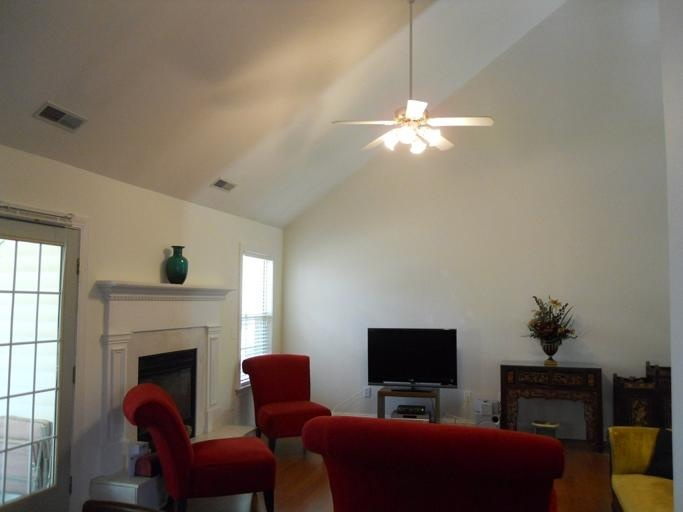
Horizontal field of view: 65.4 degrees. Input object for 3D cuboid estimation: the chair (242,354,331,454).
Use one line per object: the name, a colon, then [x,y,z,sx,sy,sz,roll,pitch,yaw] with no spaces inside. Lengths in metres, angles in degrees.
chair: [-0.666,1.712,6.155,0.961,1.173,0.992,4,-18,-28]

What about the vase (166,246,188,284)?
vase: [-1.632,0.093,5.272,0.204,0.372,0.149,3,-8,-19]

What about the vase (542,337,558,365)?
vase: [2.400,1.092,6.050,0.199,0.295,0.207,-2,-8,12]

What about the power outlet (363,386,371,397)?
power outlet: [0.349,1.777,6.939,0.127,0.185,0.096,-1,-8,11]

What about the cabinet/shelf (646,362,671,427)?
cabinet/shelf: [3.383,1.466,5.636,0.212,0.654,0.373,-4,-9,29]

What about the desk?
desk: [2.250,1.544,5.559,1.028,0.974,0.360,-1,-8,19]

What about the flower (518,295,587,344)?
flower: [2.479,0.733,6.259,0.449,0.697,0.640,4,-10,-15]
